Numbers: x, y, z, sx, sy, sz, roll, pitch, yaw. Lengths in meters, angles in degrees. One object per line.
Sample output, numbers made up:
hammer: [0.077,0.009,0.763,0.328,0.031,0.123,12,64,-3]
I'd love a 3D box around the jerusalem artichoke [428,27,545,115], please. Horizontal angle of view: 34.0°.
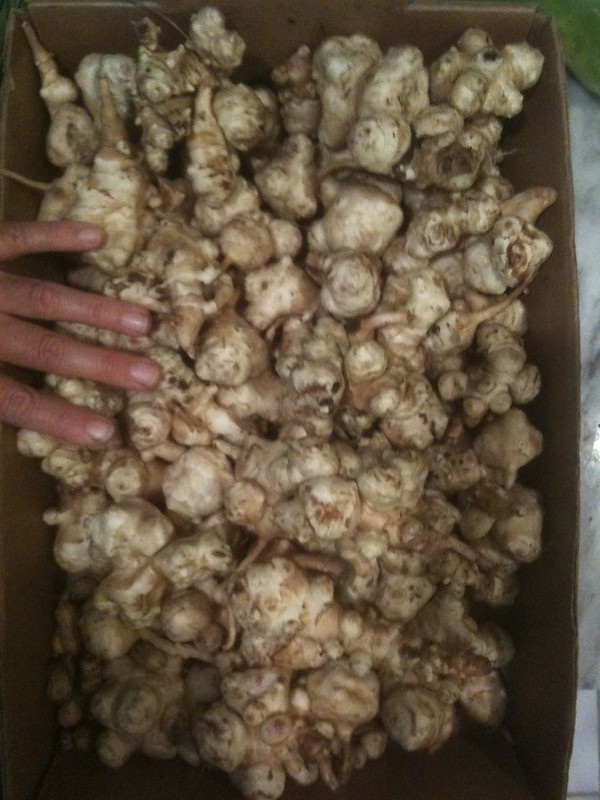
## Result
jerusalem artichoke: [0.584,-1.012,3.070,0.342,0.136,0.280,-26,100,-3]

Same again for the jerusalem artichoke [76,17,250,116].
jerusalem artichoke: [-0.421,-1.009,3.062,0.469,0.168,0.257,-21,84,16]

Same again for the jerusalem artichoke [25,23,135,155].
jerusalem artichoke: [-0.690,-1.008,3.134,0.483,0.123,0.209,16,115,23]
